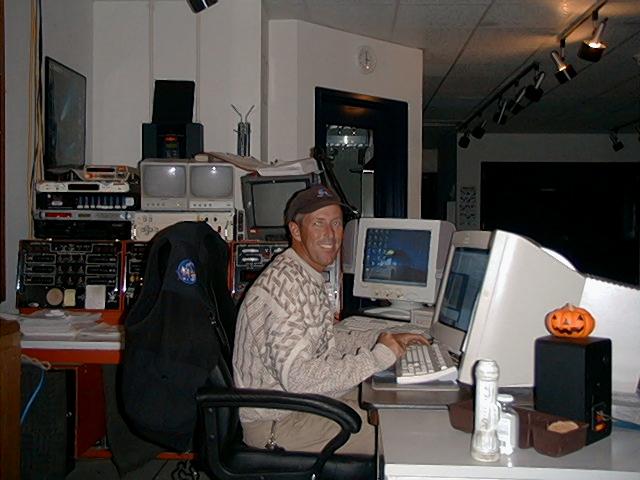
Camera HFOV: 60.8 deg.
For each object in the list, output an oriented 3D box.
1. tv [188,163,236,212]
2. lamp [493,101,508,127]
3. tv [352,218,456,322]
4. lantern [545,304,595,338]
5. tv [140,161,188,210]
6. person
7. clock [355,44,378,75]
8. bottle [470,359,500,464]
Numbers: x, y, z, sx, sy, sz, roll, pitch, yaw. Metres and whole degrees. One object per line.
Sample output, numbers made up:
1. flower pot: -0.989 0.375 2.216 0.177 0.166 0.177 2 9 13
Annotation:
1. tv: -0.668 -0.310 3.557 0.307 0.359 0.279 0 0 -4
2. lamp: 2.191 -1.557 6.637 0.196 0.149 0.604 0 16 15
3. tv: 0.479 0.162 3.065 0.519 0.542 0.290 2 -3 22
4. lantern: 0.889 0.296 1.963 0.126 0.115 0.127 -3 0 45
5. tv: -1.011 -0.342 3.617 0.276 0.314 0.310 1 -4 -8
6. person: 0.106 0.347 2.451 0.938 1.169 0.812 0 7 -30
7. clock: 0.437 -1.671 5.055 0.235 0.260 0.025 2 3 -40
8. bottle: 0.553 0.555 1.805 0.095 0.238 0.115 4 3 17
